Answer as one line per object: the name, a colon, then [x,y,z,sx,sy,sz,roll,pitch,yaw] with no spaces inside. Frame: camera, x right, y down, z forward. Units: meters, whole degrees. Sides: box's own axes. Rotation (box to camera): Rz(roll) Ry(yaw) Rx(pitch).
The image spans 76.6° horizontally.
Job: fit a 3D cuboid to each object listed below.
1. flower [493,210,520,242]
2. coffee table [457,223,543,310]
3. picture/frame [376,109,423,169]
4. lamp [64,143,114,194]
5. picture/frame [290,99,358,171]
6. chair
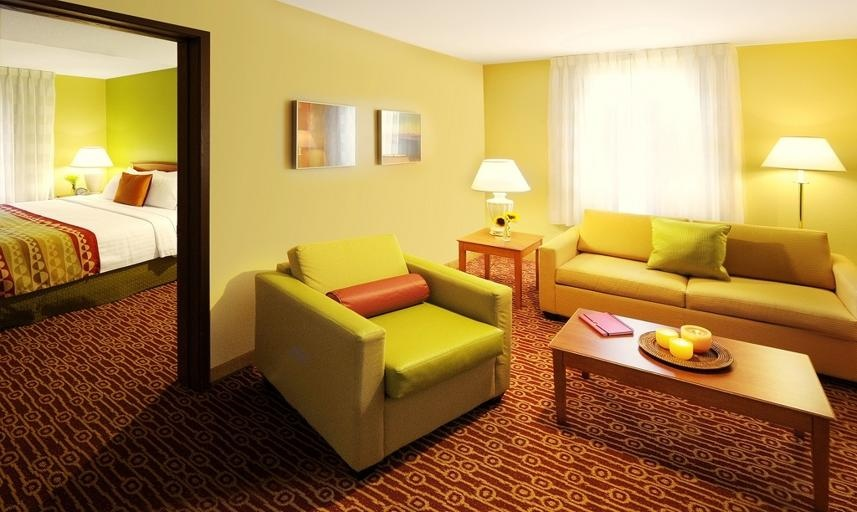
flower: [0.966,-0.374,6.766,0.382,0.407,0.341,0,7,-15]
coffee table: [1.016,-0.076,6.710,1.186,0.878,0.928,9,17,37]
picture/frame: [-0.366,-1.383,6.363,0.075,0.624,0.770,12,15,41]
lamp: [-4.678,-1.165,7.544,0.542,0.590,0.534,7,8,41]
picture/frame: [-1.103,-1.255,5.583,0.081,0.637,0.805,14,17,43]
chair: [-0.408,0.696,4.928,1.946,1.527,1.478,-10,18,-30]
